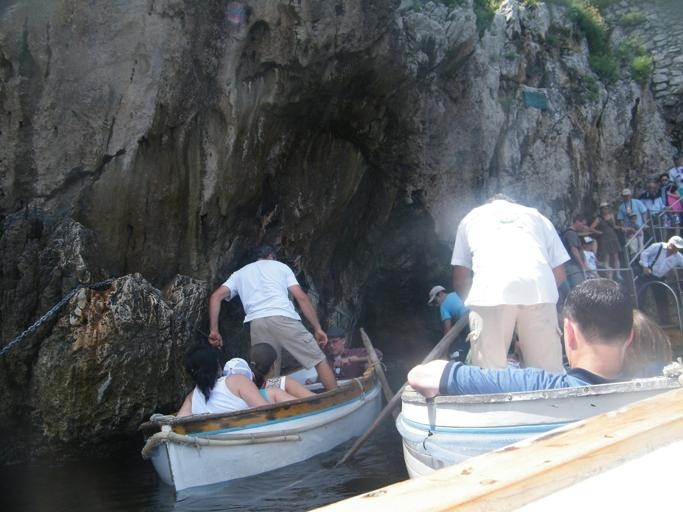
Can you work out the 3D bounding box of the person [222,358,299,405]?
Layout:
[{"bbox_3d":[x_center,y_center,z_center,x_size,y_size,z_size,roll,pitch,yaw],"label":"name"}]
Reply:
[{"bbox_3d":[-0.996,1.470,8.744,1.041,0.676,0.821,9,-12,-22],"label":"person"}]

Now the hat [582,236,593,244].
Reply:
[{"bbox_3d":[4.274,-0.298,12.432,0.149,0.134,0.349,-8,-3,21],"label":"hat"}]

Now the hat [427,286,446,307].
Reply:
[{"bbox_3d":[1.641,0.688,12.404,0.374,0.201,0.270,-42,3,10],"label":"hat"}]

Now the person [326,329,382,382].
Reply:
[{"bbox_3d":[0.135,1.514,10.787,0.755,0.454,0.252,22,-6,-31],"label":"person"}]

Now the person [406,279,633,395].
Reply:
[{"bbox_3d":[1.555,0.912,6.345,1.869,0.919,1.411,-5,-6,14],"label":"person"}]

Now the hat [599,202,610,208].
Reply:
[{"bbox_3d":[5.327,-1.058,14.493,0.200,0.153,0.256,0,8,13],"label":"hat"}]

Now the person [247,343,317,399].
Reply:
[{"bbox_3d":[-0.748,1.546,8.797,0.822,1.071,0.415,-3,-26,-2],"label":"person"}]
